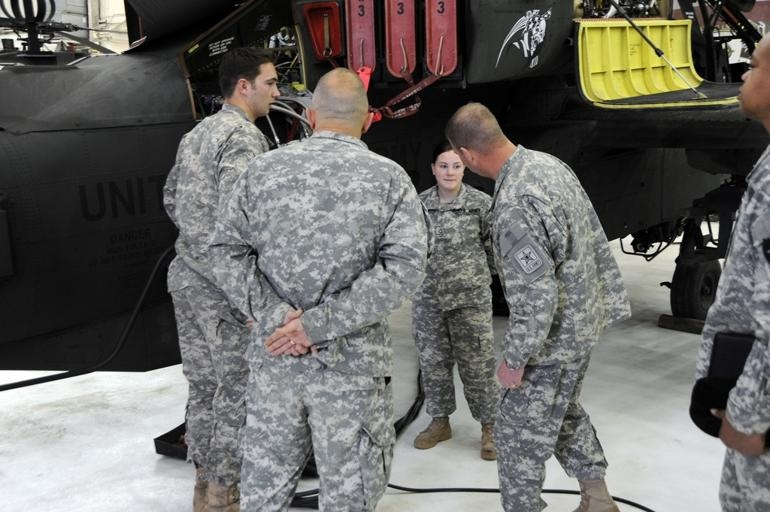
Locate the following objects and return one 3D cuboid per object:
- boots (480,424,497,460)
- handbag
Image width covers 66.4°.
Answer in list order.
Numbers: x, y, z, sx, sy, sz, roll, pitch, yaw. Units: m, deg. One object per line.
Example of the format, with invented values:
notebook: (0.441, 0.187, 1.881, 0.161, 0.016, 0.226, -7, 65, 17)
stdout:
boots: (0.758, 1.334, 4.294, 0.122, 0.216, 0.349, 0, 10, 10)
handbag: (1.458, 0.512, 2.340, 0.122, 0.356, 0.371, 11, 0, -5)
